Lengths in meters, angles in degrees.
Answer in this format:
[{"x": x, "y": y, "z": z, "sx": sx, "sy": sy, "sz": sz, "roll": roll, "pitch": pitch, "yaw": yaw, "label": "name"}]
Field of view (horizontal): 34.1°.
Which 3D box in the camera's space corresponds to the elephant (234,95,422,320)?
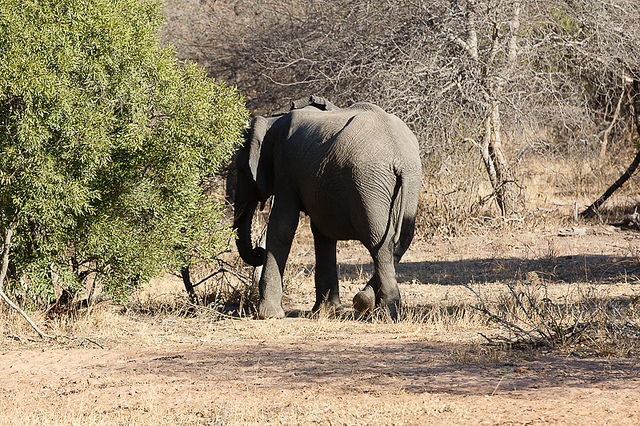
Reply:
[{"x": -0.039, "y": -0.086, "z": 18.187, "sx": 2.115, "sy": 3.813, "sz": 4.345, "roll": 2, "pitch": 1, "yaw": -44, "label": "elephant"}]
